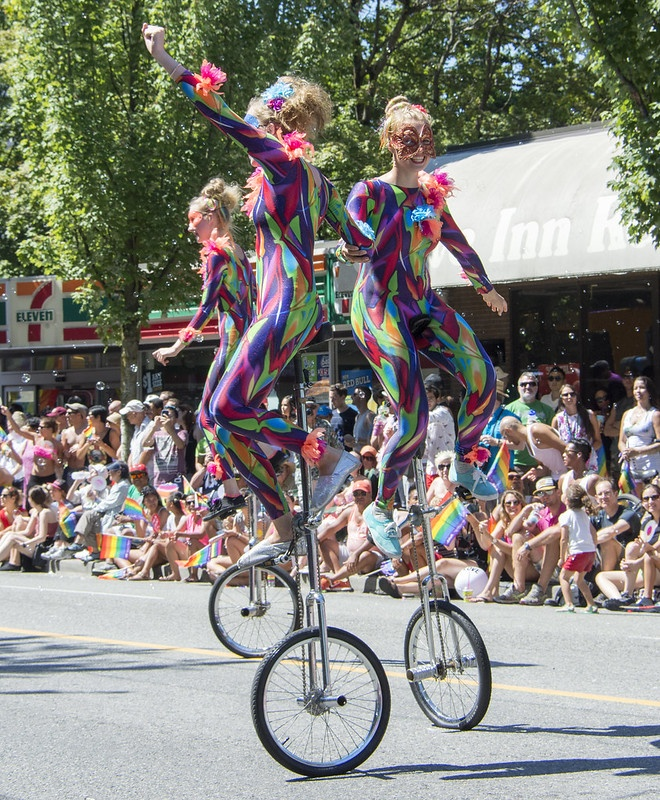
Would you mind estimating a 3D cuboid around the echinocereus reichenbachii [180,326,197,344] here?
[{"bbox_3d":[-0.853,-0.413,8.395,0.118,0.105,0.049,2,37,-6],"label":"echinocereus reichenbachii"}]

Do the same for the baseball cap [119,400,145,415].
[{"bbox_3d":[-2.108,0.087,14.693,0.268,0.119,0.160,-4,2,-9],"label":"baseball cap"}]

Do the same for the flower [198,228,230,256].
[{"bbox_3d":[-0.678,-0.968,8.326,0.218,0.186,0.062,2,-37,10],"label":"flower"}]

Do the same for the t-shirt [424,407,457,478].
[{"bbox_3d":[0.869,0.338,10.514,0.343,0.541,0.516,1,-15,5],"label":"t-shirt"}]

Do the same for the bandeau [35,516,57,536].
[{"bbox_3d":[-2.964,1.319,14.145,0.218,0.244,0.149,3,-10,-3],"label":"bandeau"}]

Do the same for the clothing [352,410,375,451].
[{"bbox_3d":[0.362,0.316,13.361,0.149,0.360,0.354,12,-16,-20],"label":"clothing"}]

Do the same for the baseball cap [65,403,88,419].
[{"bbox_3d":[-2.886,0.108,15.799,0.193,0.136,0.284,11,-11,32],"label":"baseball cap"}]

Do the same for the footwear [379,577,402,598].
[{"bbox_3d":[0.494,1.496,10.824,0.066,0.224,0.090,-17,-23,-39],"label":"footwear"}]

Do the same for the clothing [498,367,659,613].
[{"bbox_3d":[1.845,0.627,11.460,0.832,1.798,1.968,-27,-34,38],"label":"clothing"}]

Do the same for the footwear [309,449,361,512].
[{"bbox_3d":[0.038,0.378,6.714,0.125,0.109,0.327,23,-59,-33],"label":"footwear"}]

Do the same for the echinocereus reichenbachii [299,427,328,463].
[{"bbox_3d":[-0.063,0.213,6.070,0.139,0.133,0.140,-7,37,-10],"label":"echinocereus reichenbachii"}]

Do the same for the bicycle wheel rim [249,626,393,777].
[{"bbox_3d":[-0.021,1.265,5.653,0.695,0.661,0.675,3,-10,-27],"label":"bicycle wheel rim"}]

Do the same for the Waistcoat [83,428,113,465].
[{"bbox_3d":[-2.545,0.529,15.129,0.434,0.507,0.298,-1,-10,-3],"label":"Waistcoat"}]

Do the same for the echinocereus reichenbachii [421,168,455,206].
[{"bbox_3d":[0.537,-1.052,6.821,0.200,0.173,0.093,-3,-3,-27],"label":"echinocereus reichenbachii"}]
